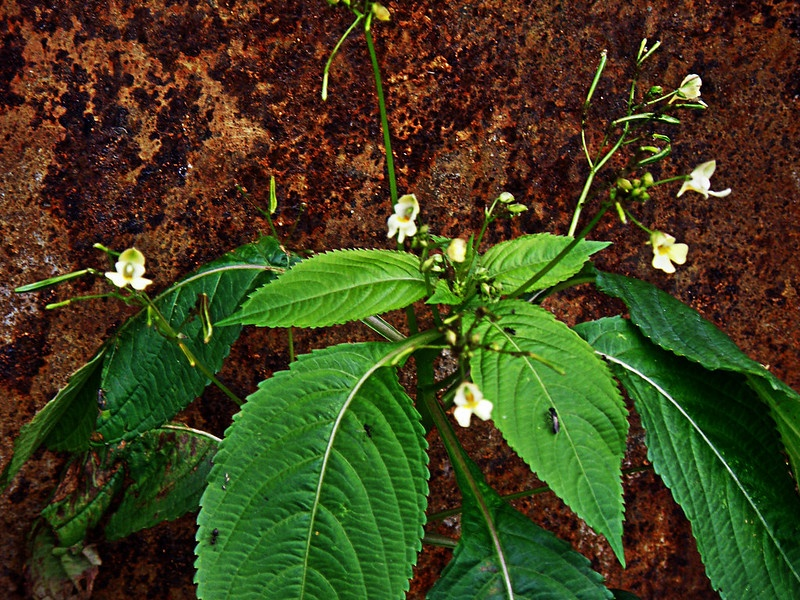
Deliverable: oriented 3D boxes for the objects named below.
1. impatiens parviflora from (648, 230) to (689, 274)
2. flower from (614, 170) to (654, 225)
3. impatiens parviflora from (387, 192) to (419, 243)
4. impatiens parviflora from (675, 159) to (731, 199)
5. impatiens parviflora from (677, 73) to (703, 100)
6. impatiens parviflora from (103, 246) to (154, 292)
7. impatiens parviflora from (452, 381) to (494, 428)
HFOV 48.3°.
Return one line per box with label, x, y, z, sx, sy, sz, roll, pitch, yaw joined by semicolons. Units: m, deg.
impatiens parviflora;1.105;-0.201;3.669;0.135;0.170;0.255;0;3;22
flower;0.905;-0.421;3.590;0.088;0.183;0.204;-13;21;41
impatiens parviflora;0.016;-0.354;3.753;0.131;0.201;0.086;14;30;12
impatiens parviflora;1.261;-0.474;3.683;0.110;0.202;0.198;-35;15;37
impatiens parviflora;1.310;-0.957;4.017;0.085;0.116;0.177;0;4;31
impatiens parviflora;-1.136;-0.127;3.746;0.170;0.174;0.145;-2;3;-9
impatiens parviflora;0.285;0.405;3.515;0.138;0.180;0.227;-2;3;1
